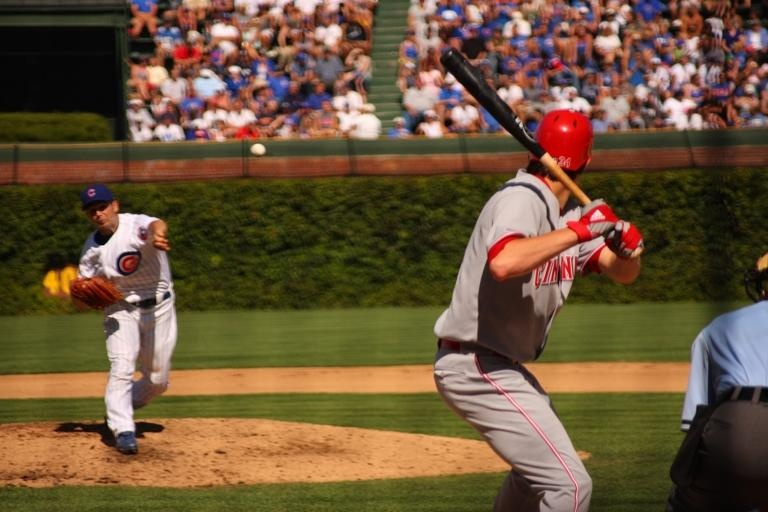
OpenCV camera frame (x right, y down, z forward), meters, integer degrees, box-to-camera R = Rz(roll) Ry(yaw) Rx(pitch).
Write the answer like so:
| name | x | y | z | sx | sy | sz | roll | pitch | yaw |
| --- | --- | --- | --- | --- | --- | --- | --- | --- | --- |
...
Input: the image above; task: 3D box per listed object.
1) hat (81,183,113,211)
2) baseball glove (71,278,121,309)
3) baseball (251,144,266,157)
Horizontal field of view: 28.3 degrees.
| name | x | y | z | sx | sy | sz | roll | pitch | yaw |
| --- | --- | --- | --- | --- | --- | --- | --- | --- | --- |
| hat | -3.849 | -0.786 | 20.443 | 0.405 | 0.308 | 0.281 | -2 | 10 | -9 |
| baseball glove | -3.870 | 0.491 | 20.368 | 0.562 | 0.411 | 0.209 | 4 | 55 | 9 |
| baseball | -2.167 | -1.795 | 26.246 | 0.260 | 0.199 | 0.202 | 12 | -28 | -30 |
